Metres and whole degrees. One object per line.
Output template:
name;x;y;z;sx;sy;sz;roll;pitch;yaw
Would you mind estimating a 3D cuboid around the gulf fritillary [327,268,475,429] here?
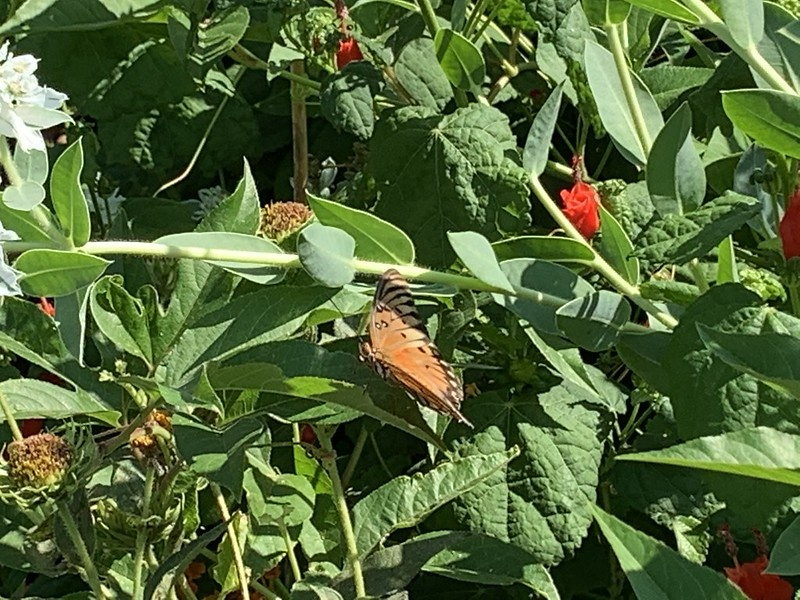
gulf fritillary;0.006;0.044;0.903;0.126;0.068;0.135;37;36;-6
